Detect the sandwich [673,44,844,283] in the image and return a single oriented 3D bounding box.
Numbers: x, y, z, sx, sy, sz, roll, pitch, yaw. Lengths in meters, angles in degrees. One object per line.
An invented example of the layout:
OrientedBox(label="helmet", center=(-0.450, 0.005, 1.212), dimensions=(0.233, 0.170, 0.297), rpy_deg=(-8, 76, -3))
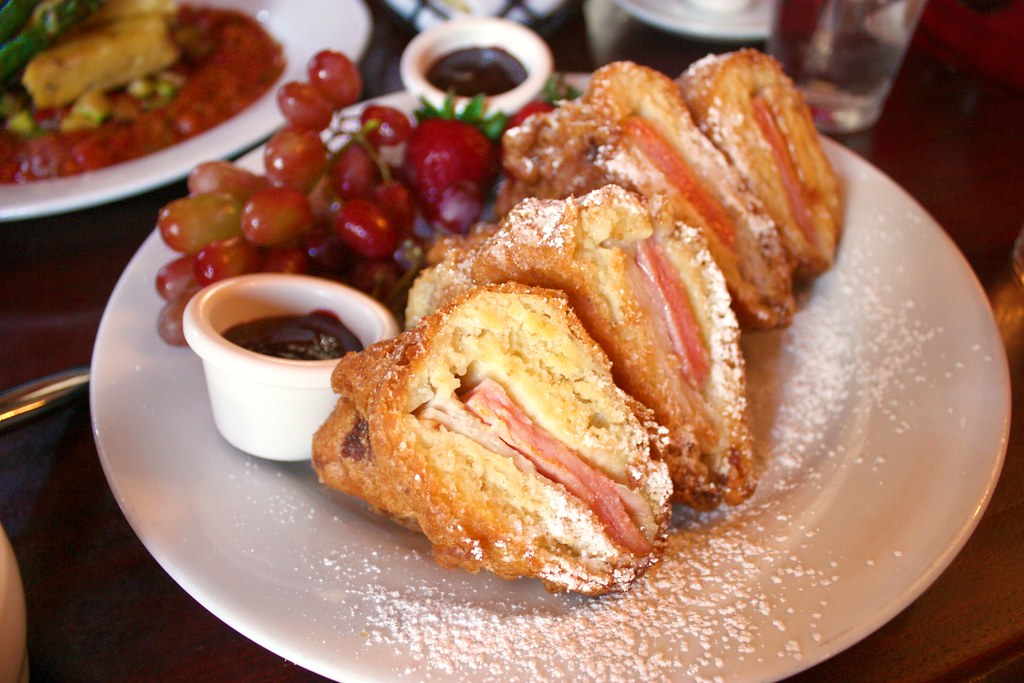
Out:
OrientedBox(label="sandwich", center=(0.667, -0.503, 2.851), dimensions=(0.381, 0.193, 0.689), rpy_deg=(-21, 92, -33))

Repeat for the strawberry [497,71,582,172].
OrientedBox(label="strawberry", center=(0.094, -0.777, 3.161), dimensions=(0.223, 0.148, 0.153), rpy_deg=(-45, 37, -9))
